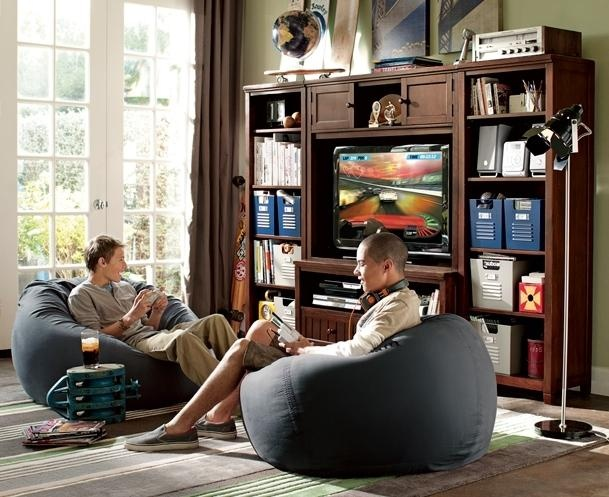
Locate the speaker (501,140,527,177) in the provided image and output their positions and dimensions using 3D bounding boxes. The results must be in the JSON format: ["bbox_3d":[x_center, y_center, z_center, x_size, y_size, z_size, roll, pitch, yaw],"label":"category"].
[{"bbox_3d":[1.390,-0.594,3.287,0.069,0.238,0.193,-4,5,-43],"label":"speaker"}]

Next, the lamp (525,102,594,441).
[{"bbox_3d":[1.460,0.131,2.780,0.330,1.770,0.855,1,5,30],"label":"lamp"}]

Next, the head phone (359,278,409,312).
[{"bbox_3d":[0.320,0.197,2.036,0.202,0.157,0.157,1,4,20],"label":"head phone"}]

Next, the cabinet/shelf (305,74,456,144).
[{"bbox_3d":[0.622,-1.138,3.987,1.191,0.427,0.292,5,11,29],"label":"cabinet/shelf"}]

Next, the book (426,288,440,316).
[{"bbox_3d":[0.905,0.379,3.474,0.099,0.192,0.192,2,4,6],"label":"book"}]

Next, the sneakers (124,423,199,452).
[{"bbox_3d":[-0.654,0.875,2.308,0.319,0.124,0.131,1,-6,-1],"label":"sneakers"}]

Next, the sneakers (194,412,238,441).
[{"bbox_3d":[-0.442,0.870,2.448,0.218,0.092,0.089,4,-2,35],"label":"sneakers"}]

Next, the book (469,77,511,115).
[{"bbox_3d":[1.263,-1.040,3.371,0.271,0.271,0.162,-8,9,-36],"label":"book"}]

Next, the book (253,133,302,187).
[{"bbox_3d":[-0.235,-0.795,4.502,0.491,0.511,0.237,4,3,42],"label":"book"}]

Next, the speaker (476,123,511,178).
[{"bbox_3d":[1.286,-0.676,3.448,0.212,0.345,0.217,4,-3,-15],"label":"speaker"}]

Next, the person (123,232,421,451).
[{"bbox_3d":[-0.119,0.421,2.289,1.332,0.903,0.549,-3,-9,0],"label":"person"}]

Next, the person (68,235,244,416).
[{"bbox_3d":[-0.928,0.367,3.108,1.030,0.805,0.502,3,2,15],"label":"person"}]

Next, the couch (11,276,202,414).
[{"bbox_3d":[-1.279,0.588,3.124,0.876,0.558,0.915,2,-1,26],"label":"couch"}]

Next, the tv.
[{"bbox_3d":[0.678,-0.354,3.659,0.902,0.756,0.124,5,7,39],"label":"tv"}]

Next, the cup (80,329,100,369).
[{"bbox_3d":[-1.148,0.530,2.662,0.075,0.193,0.156,-2,4,-21],"label":"cup"}]
